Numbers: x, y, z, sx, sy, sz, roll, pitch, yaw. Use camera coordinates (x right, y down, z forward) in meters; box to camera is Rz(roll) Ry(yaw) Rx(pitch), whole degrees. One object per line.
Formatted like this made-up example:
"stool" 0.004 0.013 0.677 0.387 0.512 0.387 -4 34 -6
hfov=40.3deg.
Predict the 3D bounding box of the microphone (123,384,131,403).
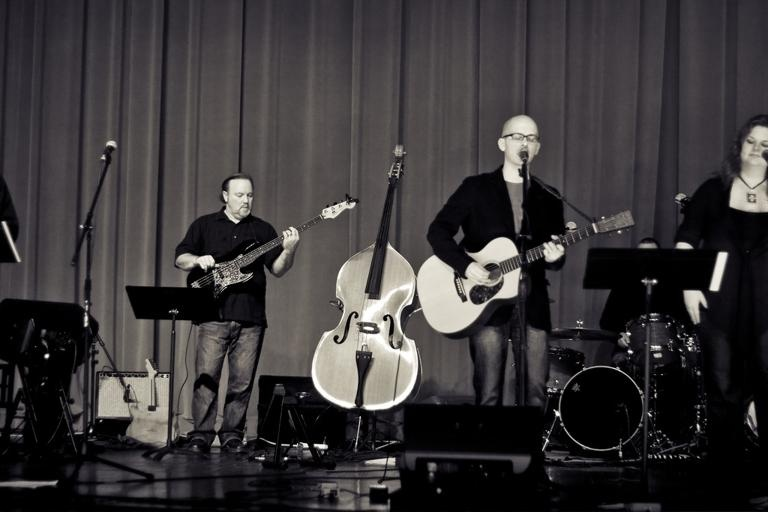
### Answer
"microphone" -2.434 1.301 9.924 0.079 0.171 0.049 -7 -9 5

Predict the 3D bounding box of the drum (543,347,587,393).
"drum" 1.714 1.035 9.687 0.367 0.238 0.470 38 -20 -16

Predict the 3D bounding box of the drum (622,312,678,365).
"drum" 2.368 0.714 9.189 0.367 0.493 0.142 -3 -26 33

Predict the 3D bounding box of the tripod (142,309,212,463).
"tripod" -1.975 1.162 9.423 0.263 1.285 0.877 4 -7 -7

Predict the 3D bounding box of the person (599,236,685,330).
"person" 2.323 0.324 9.755 0.692 1.086 0.285 3 4 26

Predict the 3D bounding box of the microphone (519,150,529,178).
"microphone" 1.114 -0.737 8.338 0.095 0.197 0.058 1 -7 3

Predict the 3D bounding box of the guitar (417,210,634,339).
"guitar" 1.085 0.225 8.777 1.974 0.849 0.296 -26 -19 23

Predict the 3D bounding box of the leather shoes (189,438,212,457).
"leather shoes" -1.621 1.679 9.192 0.199 0.155 0.253 4 -7 -11

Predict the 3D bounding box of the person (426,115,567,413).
"person" 0.955 0.003 8.498 1.116 2.387 0.511 1 -7 12
